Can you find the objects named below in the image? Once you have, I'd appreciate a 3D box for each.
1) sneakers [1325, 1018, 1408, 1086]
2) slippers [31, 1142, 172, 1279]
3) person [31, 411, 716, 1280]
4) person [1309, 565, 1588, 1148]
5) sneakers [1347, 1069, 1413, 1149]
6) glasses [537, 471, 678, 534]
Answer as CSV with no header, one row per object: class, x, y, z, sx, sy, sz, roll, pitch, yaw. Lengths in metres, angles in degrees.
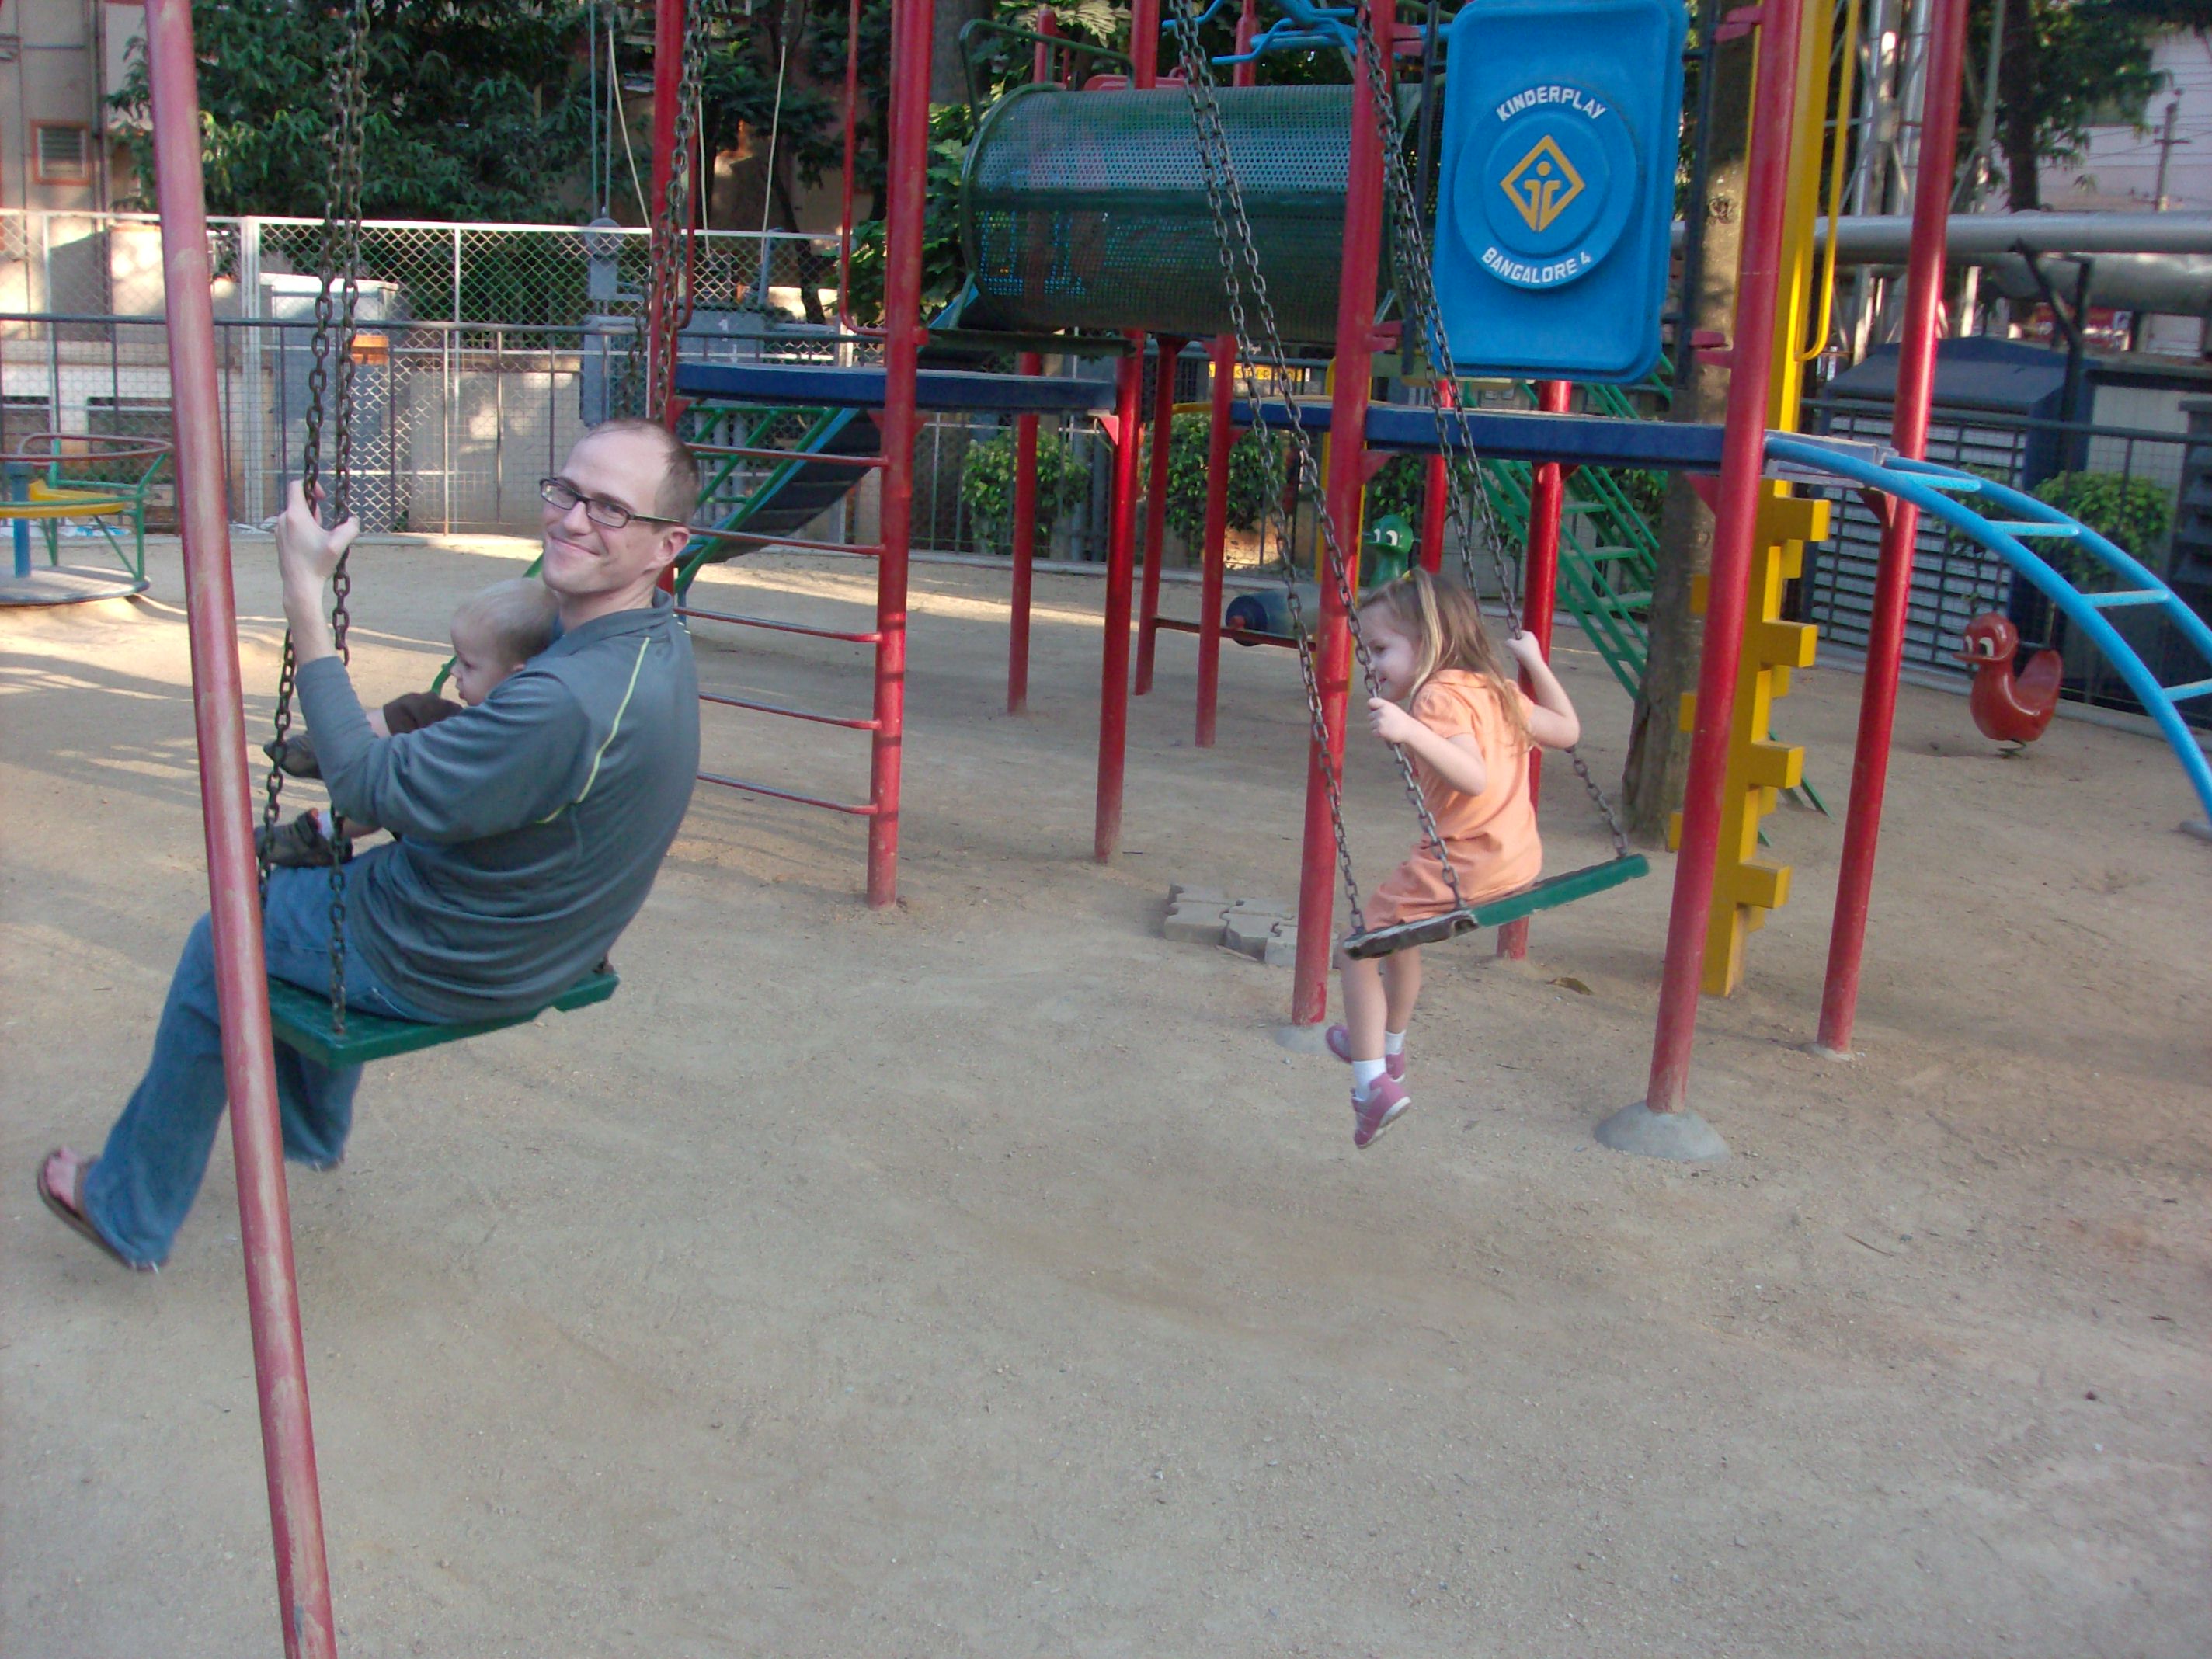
sneakers,0.660,0.560,5.683,0.106,0.140,0.319,-1,14,-4
slippers,-2.211,0.860,4.726,0.124,0.300,0.101,-28,14,12
person,-1.426,0.083,4.483,1.020,1.895,0.846,13,16,39
person,0.879,0.127,5.529,0.569,1.553,1.057,5,12,11
sneakers,0.677,0.708,5.409,0.087,0.108,0.240,-46,-4,-21
glasses,-1.011,-0.644,4.256,0.140,0.040,0.145,24,1,21
